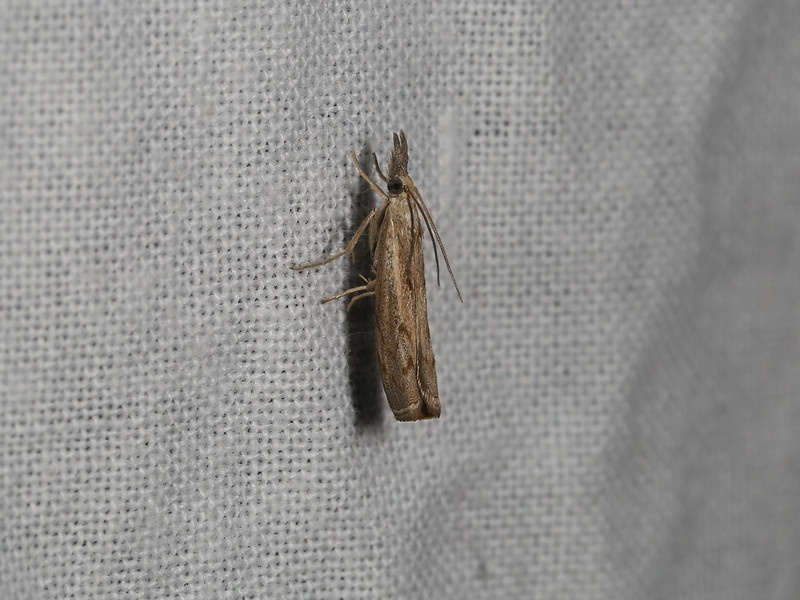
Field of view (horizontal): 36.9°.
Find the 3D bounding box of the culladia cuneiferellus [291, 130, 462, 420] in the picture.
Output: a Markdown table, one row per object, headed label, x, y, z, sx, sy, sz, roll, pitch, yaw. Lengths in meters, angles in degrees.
| label | x | y | z | sx | sy | sz | roll | pitch | yaw |
| --- | --- | --- | --- | --- | --- | --- | --- | --- | --- |
| culladia cuneiferellus | -0.046 | -0.032 | 1.995 | 0.120 | 0.280 | 0.457 | -6 | 86 | 41 |
